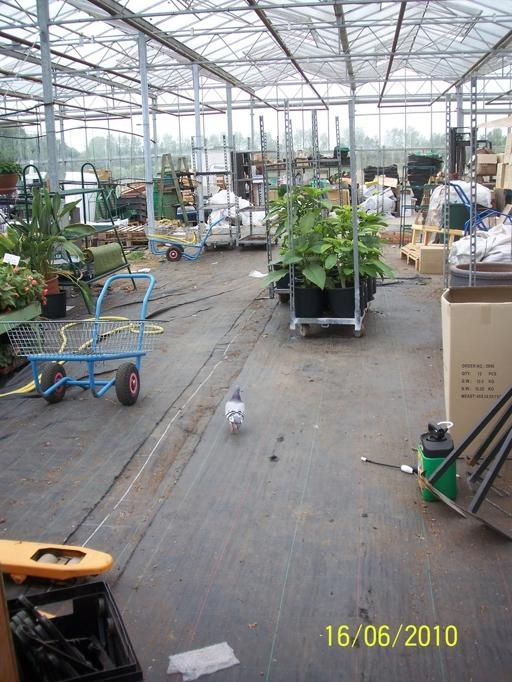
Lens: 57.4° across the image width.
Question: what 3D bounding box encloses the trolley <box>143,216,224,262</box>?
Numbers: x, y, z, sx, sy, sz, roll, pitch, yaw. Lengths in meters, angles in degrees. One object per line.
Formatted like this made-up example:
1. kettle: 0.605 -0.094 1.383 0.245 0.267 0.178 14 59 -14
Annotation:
1. trolley: -1.534 -2.320 10.112 1.574 0.936 0.977 2 33 0

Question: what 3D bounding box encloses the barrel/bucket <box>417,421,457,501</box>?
1. barrel/bucket: 0.763 0.505 1.974 0.157 0.334 0.316 1 13 22

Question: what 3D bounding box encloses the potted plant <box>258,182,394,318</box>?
1. potted plant: 0.840 -0.865 4.690 1.360 1.188 1.328 -11 16 -35
